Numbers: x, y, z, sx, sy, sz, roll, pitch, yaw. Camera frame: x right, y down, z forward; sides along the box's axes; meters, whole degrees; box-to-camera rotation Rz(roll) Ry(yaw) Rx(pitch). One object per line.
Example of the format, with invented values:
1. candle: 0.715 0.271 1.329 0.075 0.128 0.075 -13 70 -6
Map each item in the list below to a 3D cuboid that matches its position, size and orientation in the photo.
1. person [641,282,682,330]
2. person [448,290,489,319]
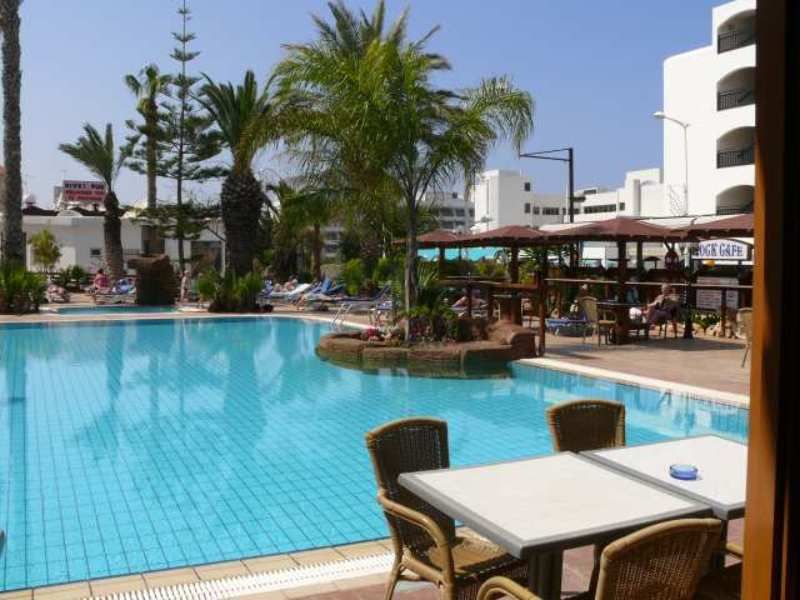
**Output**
1. person: 5.802 0.113 15.774 0.665 0.992 1.374 1 2 24
2. person: 2.007 0.160 20.538 0.749 0.541 1.090 -2 -3 42
